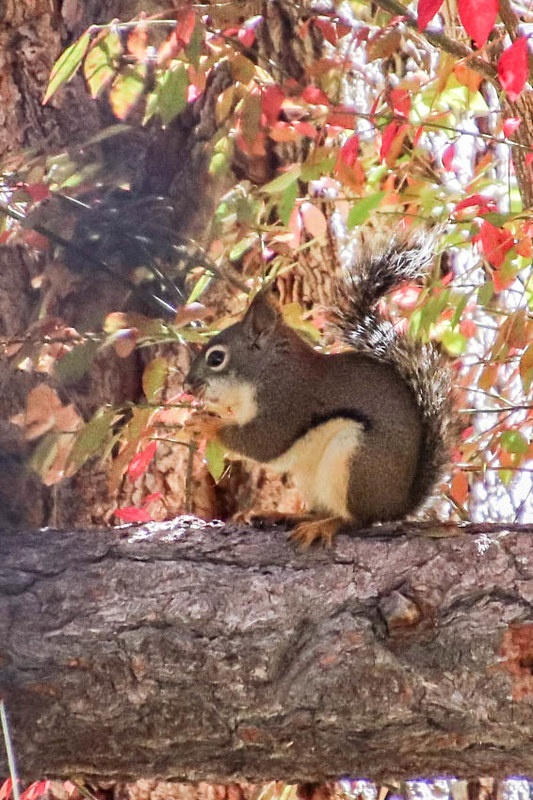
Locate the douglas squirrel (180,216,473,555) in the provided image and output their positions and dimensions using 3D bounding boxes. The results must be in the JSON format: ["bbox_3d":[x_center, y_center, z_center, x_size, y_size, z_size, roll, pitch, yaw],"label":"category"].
[{"bbox_3d":[0.165,-0.084,3.252,0.490,0.844,0.690,8,-2,-34],"label":"douglas squirrel"}]
